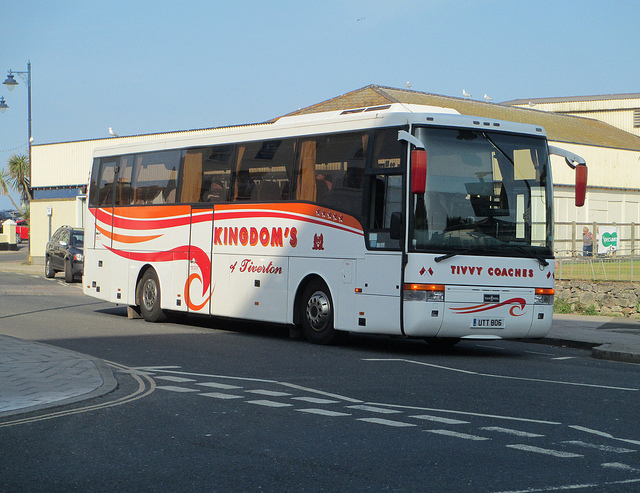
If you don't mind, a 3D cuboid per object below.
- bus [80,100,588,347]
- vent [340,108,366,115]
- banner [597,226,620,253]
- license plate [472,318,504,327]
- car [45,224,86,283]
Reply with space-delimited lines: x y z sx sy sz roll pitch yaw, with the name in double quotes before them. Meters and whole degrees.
"bus" -1.691 -0.300 17.911 5.335 6.367 15.477 1 -2 -37
"vent" 0.675 -2.746 13.674 0.548 0.113 0.145 -10 9 6
"banner" 11.363 -0.312 26.405 0.791 1.191 2.125 1 -3 23
"license plate" 3.127 1.400 12.443 0.678 0.172 0.132 5 -4 -31
"car" -12.555 0.326 33.134 1.178 2.792 4.307 4 -3 -28
